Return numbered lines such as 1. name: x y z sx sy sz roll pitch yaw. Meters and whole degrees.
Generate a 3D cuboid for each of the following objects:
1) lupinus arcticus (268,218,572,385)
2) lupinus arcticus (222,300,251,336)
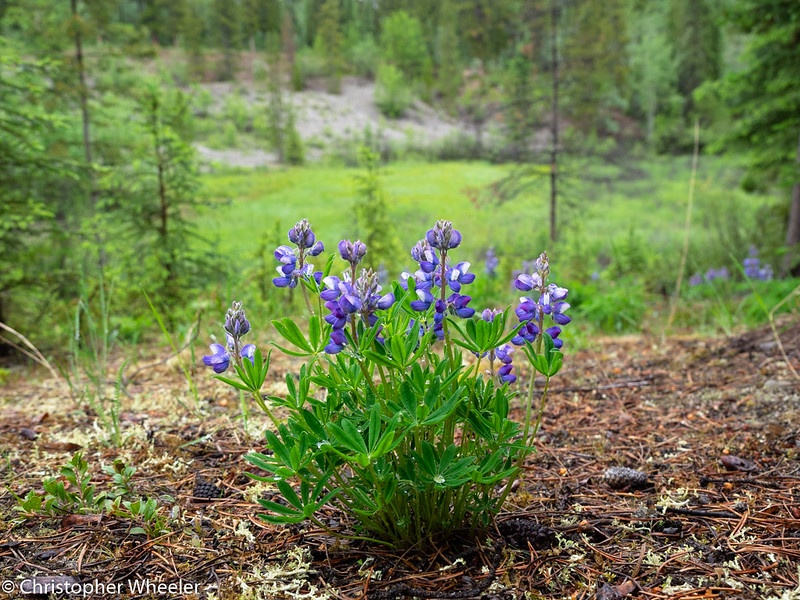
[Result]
1. lupinus arcticus: 0.104 0.029 4.033 1.522 0.931 0.530 -4 11 -11
2. lupinus arcticus: -0.857 0.101 3.944 0.117 0.188 0.176 -4 11 -14
